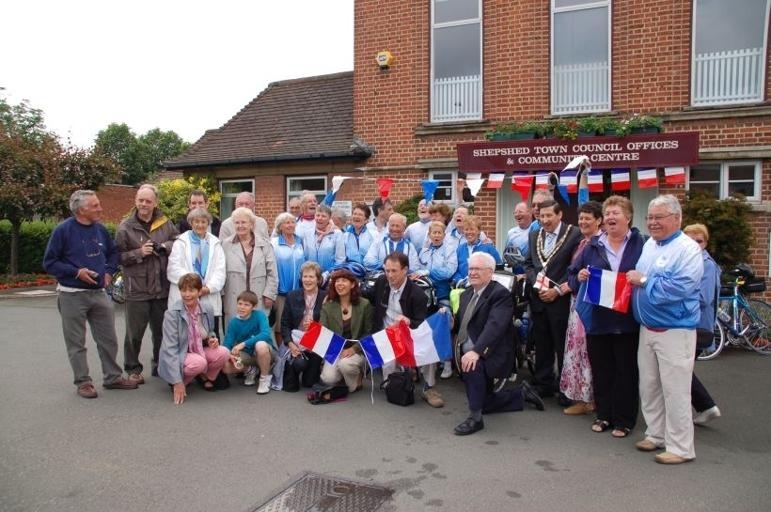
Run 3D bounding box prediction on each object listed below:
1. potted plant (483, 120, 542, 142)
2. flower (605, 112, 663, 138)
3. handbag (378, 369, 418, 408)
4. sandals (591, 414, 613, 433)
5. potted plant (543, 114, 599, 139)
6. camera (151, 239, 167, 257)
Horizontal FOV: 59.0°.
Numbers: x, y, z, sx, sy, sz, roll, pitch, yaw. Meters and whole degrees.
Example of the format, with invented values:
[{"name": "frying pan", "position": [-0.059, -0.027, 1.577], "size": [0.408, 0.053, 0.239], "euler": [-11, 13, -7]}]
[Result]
[{"name": "potted plant", "position": [3.027, -2.925, 15.968], "size": [1.307, 0.471, 0.473], "euler": [1, 2, 13]}, {"name": "flower", "position": [5.519, -2.937, 15.113], "size": [1.205, 0.568, 0.578], "euler": [1, 2, 17]}, {"name": "handbag", "position": [0.280, 1.997, 10.304], "size": [0.523, 0.480, 0.467], "euler": [2, -2, 39]}, {"name": "sandals", "position": [2.994, 2.321, 9.360], "size": [0.172, 0.121, 0.445], "euler": [-3, -9, 24]}, {"name": "potted plant", "position": [4.239, -2.909, 15.384], "size": [1.118, 0.510, 0.382], "euler": [1, 2, 12]}, {"name": "camera", "position": [-3.613, -0.125, 10.884], "size": [0.171, 0.248, 0.101], "euler": [7, -2, -16]}]
